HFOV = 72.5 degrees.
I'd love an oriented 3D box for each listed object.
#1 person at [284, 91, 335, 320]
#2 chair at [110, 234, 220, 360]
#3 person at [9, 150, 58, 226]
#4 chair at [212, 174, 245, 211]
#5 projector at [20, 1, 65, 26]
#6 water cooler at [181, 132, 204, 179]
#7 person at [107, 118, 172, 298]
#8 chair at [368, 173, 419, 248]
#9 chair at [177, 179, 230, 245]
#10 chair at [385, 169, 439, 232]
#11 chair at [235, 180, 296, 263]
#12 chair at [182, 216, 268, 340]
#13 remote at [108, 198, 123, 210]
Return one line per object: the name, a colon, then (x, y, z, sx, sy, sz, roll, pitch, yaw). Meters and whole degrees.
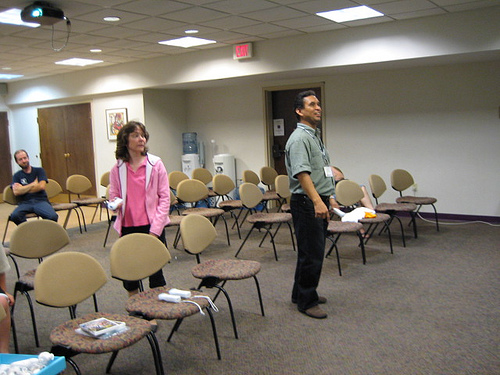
person: (0.593, 0.129, 3.415, 0.499, 2.092, 1.034, -2, 8, 14)
chair: (-0.668, 0.841, 2.512, 0.669, 0.954, 0.587, 0, 4, 31)
person: (-3.723, -0.035, 5.771, 0.677, 1.193, 0.667, -8, 8, -27)
chair: (-0.381, 0.063, 6.102, 0.494, 0.601, 0.522, 1, 10, 36)
projector: (-2.733, -2.222, 4.456, 0.321, 0.217, 0.336, -1, 0, 33)
water cooler: (-1.504, -0.880, 8.896, 0.557, 1.103, 0.602, -7, 8, -22)
person: (-0.991, 0.304, 3.025, 0.516, 1.743, 0.514, -2, 8, -16)
chair: (2.381, 0.298, 5.568, 0.672, 1.079, 0.689, -12, 14, -27)
chair: (-0.743, 0.339, 5.528, 0.691, 1.048, 0.754, -15, 6, -28)
chair: (2.777, 0.210, 5.875, 0.720, 1.046, 0.741, -4, 3, -5)
chair: (0.223, 0.453, 5.096, 0.702, 1.124, 0.728, -1, 6, 37)
chair: (-0.268, 0.731, 3.095, 0.645, 0.994, 0.577, 0, 4, 19)
remote: (-1.133, 0.132, 2.853, 0.064, 0.022, 0.092, -5, 30, 25)
